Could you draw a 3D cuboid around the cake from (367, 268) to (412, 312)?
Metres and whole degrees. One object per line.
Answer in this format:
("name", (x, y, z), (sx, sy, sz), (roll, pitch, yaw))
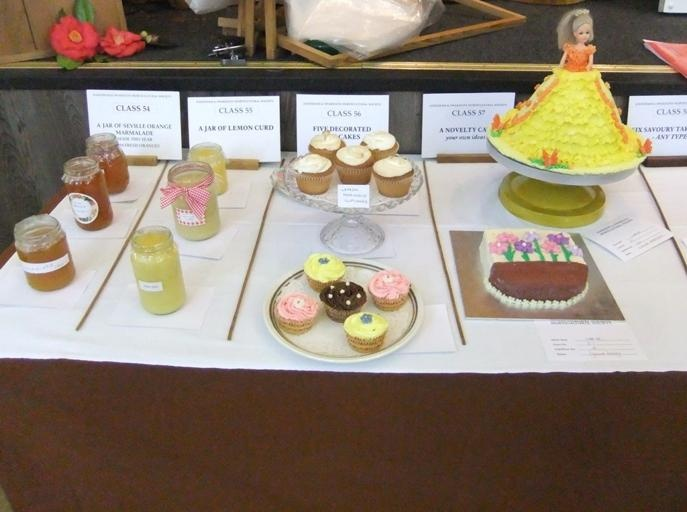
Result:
("cake", (0.101, 0.068, 1.184), (0.086, 0.055, 0.087), (0, 32, 3))

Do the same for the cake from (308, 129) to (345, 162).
("cake", (-0.052, -0.302, 1.344), (0.086, 0.071, 0.083), (-2, 39, -2))

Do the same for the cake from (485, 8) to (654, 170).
("cake", (0.546, -0.401, 1.450), (0.455, 0.370, 0.437), (-2, 40, 5))

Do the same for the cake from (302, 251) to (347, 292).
("cake", (-0.044, 0.031, 1.183), (0.086, 0.062, 0.090), (2, 31, 0))

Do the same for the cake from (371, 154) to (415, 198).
("cake", (0.118, -0.191, 1.231), (0.097, 0.078, 0.100), (0, 30, 3))

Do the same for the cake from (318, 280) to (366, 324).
("cake", (-0.003, 0.086, 1.129), (0.090, 0.058, 0.087), (1, 34, 0))

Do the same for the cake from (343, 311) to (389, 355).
("cake", (0.046, 0.151, 1.103), (0.086, 0.058, 0.086), (0, 31, 0))

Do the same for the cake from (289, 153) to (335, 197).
("cake", (-0.074, -0.198, 1.236), (0.098, 0.069, 0.099), (0, 37, -3))

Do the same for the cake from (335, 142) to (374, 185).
("cake", (0.025, -0.223, 1.256), (0.095, 0.086, 0.101), (0, 35, 0))

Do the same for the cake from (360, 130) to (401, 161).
("cake", (0.107, -0.286, 1.310), (0.087, 0.068, 0.084), (1, 39, 3))

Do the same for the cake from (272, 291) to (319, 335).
("cake", (-0.104, 0.116, 1.089), (0.090, 0.052, 0.086), (2, 34, -2))
